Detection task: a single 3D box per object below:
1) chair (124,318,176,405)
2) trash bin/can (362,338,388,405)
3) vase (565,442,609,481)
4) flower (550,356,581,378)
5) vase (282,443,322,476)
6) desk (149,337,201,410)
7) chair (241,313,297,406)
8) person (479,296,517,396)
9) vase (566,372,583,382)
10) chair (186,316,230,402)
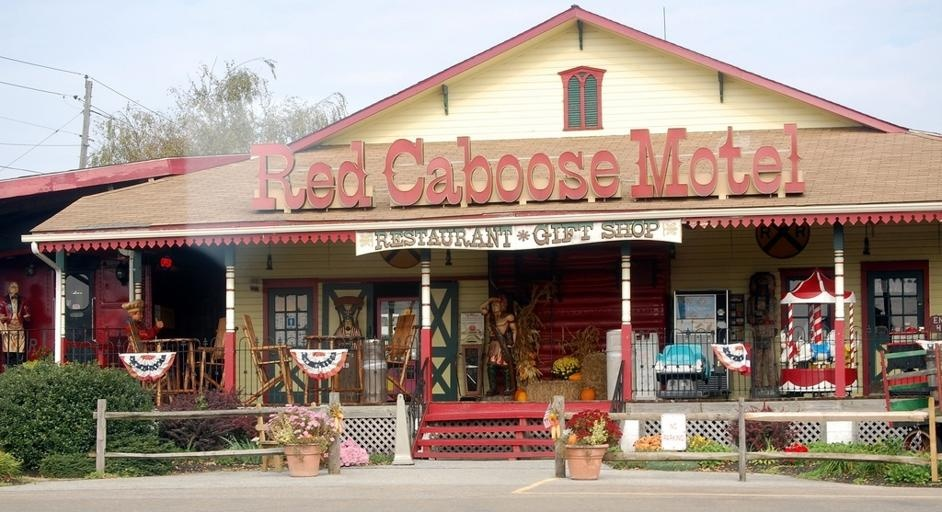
[{"bbox_3d":[-9.993,2.919,44.518,1.328,3.163,2.124,1,-8,-12],"label":"chair"},{"bbox_3d":[-2.888,3.437,43.480,0.662,1.874,0.322,0,-8,-5],"label":"trash bin/can"},{"bbox_3d":[3.060,5.432,38.278,1.013,0.654,0.986,7,-12,-20],"label":"vase"},{"bbox_3d":[2.948,3.470,45.096,0.599,0.409,0.763,-6,3,25],"label":"flower"},{"bbox_3d":[-4.429,5.502,39.148,0.918,0.618,0.900,8,-11,-44],"label":"vase"},{"bbox_3d":[-9.085,3.594,44.578,1.434,2.398,1.260,2,0,-14],"label":"desk"},{"bbox_3d":[-6.226,3.145,44.768,1.630,2.862,3.714,0,-8,-9],"label":"chair"},{"bbox_3d":[0.862,2.808,44.637,0.974,2.920,1.121,1,0,-8],"label":"person"},{"bbox_3d":[3.264,3.742,44.963,0.274,0.259,0.267,-22,2,-20],"label":"vase"},{"bbox_3d":[-8.144,3.326,45.590,1.065,2.557,1.213,3,1,24],"label":"chair"}]
